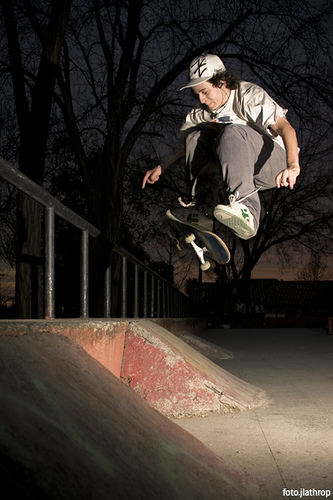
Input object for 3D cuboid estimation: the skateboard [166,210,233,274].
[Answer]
[{"bbox_3d":[0.313,-0.225,3.882,0.762,0.173,0.401,32,-18,48],"label":"skateboard"}]
